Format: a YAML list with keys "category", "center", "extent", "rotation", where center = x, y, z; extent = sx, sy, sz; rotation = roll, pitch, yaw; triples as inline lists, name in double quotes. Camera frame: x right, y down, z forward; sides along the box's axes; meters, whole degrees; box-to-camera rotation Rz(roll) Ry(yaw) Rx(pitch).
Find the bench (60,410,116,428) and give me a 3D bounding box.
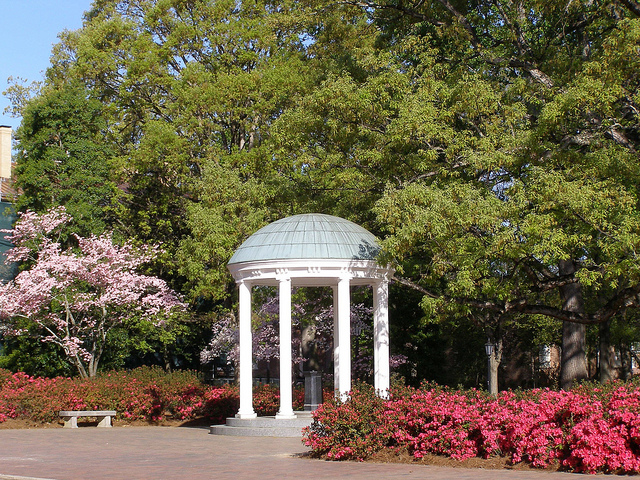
- category: "bench"
  center: [-8.788, 6.889, 35.067]
  extent: [1.905, 0.682, 2.532]
  rotation: [-2, -15, 13]
